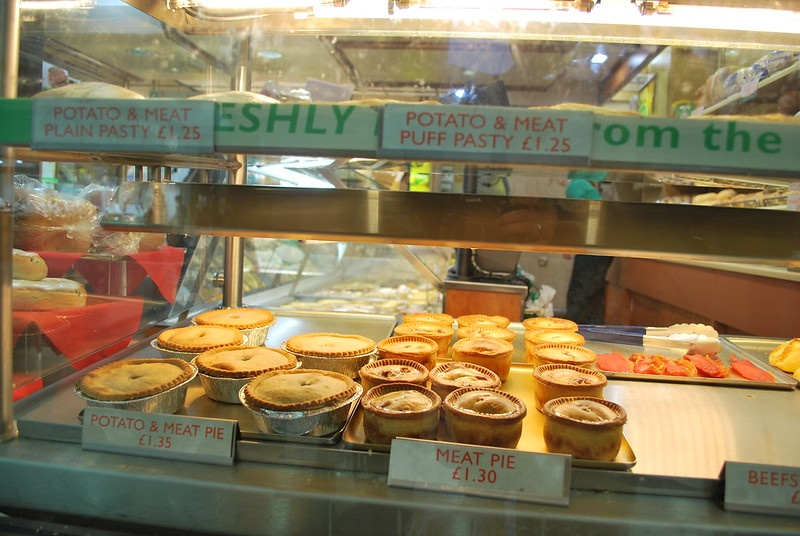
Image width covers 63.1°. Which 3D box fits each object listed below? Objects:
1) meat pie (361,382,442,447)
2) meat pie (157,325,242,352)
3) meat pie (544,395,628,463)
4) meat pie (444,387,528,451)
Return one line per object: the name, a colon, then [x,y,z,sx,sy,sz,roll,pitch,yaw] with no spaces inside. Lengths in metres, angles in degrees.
meat pie: [0.004,0.393,1.764,0.181,0.075,0.163,1,1,4]
meat pie: [-0.661,0.239,2.159,0.136,0.028,0.129,9,9,29]
meat pie: [0.485,0.417,1.718,0.181,0.083,0.164,2,3,13]
meat pie: [0.222,0.399,1.737,0.176,0.073,0.167,-3,8,-34]
